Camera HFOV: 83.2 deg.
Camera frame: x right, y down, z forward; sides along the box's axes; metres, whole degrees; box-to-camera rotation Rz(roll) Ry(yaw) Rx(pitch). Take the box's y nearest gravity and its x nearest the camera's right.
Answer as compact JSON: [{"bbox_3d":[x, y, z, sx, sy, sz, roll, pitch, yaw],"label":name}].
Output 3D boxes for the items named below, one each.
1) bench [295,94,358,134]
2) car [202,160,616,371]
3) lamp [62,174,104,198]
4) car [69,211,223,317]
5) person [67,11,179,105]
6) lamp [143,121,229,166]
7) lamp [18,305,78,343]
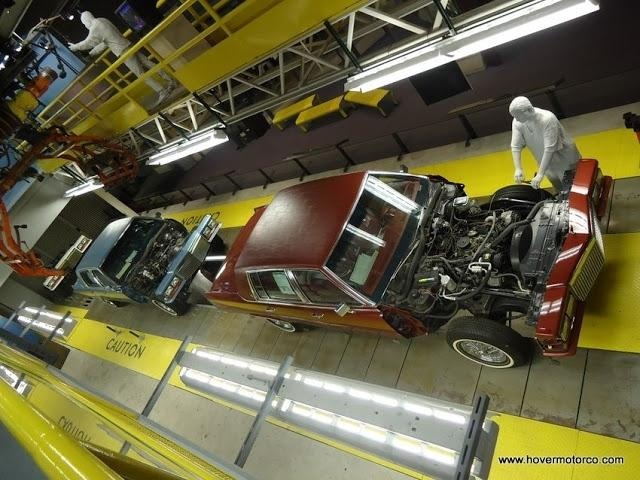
[{"bbox_3d":[0.208,-2.948,8.544,1.591,0.505,0.573,-7,58,35],"label":"bench"},{"bbox_3d":[0.676,0.183,4.774,5.018,1.403,2.237,-2,54,34],"label":"car"},{"bbox_3d":[-6.921,-1.524,10.453,2.918,0.498,0.619,3,39,48],"label":"lamp"},{"bbox_3d":[-4.180,0.482,8.320,3.992,1.533,1.960,-6,50,32],"label":"car"},{"bbox_3d":[-3.690,-3.451,6.794,1.118,1.304,0.727,3,43,52],"label":"person"},{"bbox_3d":[-2.767,-1.969,7.498,2.340,0.429,0.675,1,36,46],"label":"lamp"},{"bbox_3d":[-6.799,2.114,8.917,1.922,0.528,0.499,0,45,37],"label":"lamp"}]
